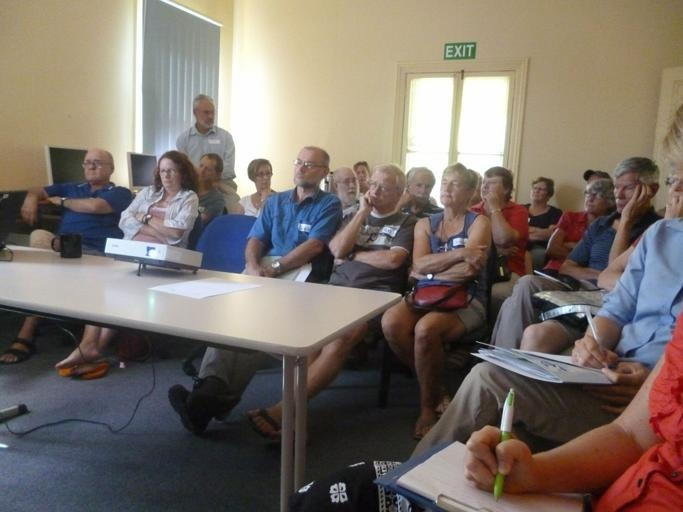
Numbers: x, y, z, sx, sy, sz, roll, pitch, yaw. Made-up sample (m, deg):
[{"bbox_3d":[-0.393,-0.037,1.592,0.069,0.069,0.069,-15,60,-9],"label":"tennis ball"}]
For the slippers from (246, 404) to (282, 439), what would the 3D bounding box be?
[{"bbox_3d":[-0.356,0.768,2.445,0.162,0.172,0.061,12,14,22],"label":"slippers"}]

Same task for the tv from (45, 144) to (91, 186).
[{"bbox_3d":[-2.574,-0.843,4.887,0.052,0.384,0.536,1,3,26],"label":"tv"}]

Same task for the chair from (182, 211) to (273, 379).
[{"bbox_3d":[-0.775,0.108,3.312,0.422,0.753,0.474,7,5,13],"label":"chair"}]

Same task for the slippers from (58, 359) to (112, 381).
[{"bbox_3d":[-1.421,0.638,2.897,0.211,0.059,0.130,-4,1,7],"label":"slippers"}]

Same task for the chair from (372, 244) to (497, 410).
[{"bbox_3d":[0.502,0.203,2.834,0.481,1.403,0.537,7,9,42],"label":"chair"}]
